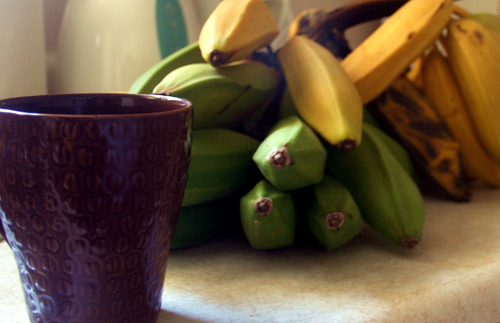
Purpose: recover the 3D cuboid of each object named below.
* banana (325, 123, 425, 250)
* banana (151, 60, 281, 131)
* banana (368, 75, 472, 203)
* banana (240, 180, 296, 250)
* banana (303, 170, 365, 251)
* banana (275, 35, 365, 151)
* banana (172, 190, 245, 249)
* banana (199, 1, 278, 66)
[{"bbox_3d":[0.143,0.034,0.540,0.055,0.167,0.062,-31,-10,-46],"label":"banana"},{"bbox_3d":[-0.037,-0.099,0.522,0.152,0.084,0.060,-14,20,-15],"label":"banana"},{"bbox_3d":[0.231,-0.034,0.624,0.054,0.181,0.058,-44,-14,25],"label":"banana"},{"bbox_3d":[0.016,0.049,0.533,0.058,0.051,0.079,-5,-3,4],"label":"banana"},{"bbox_3d":[0.096,0.061,0.520,0.054,0.043,0.095,-37,58,-3],"label":"banana"},{"bbox_3d":[0.082,-0.077,0.571,0.070,0.053,0.147,-29,67,-12],"label":"banana"},{"bbox_3d":[-0.050,0.064,0.558,0.060,0.053,0.083,7,2,32],"label":"banana"},{"bbox_3d":[-0.016,-0.143,0.561,0.085,0.072,0.038,-39,1,-15],"label":"banana"}]
